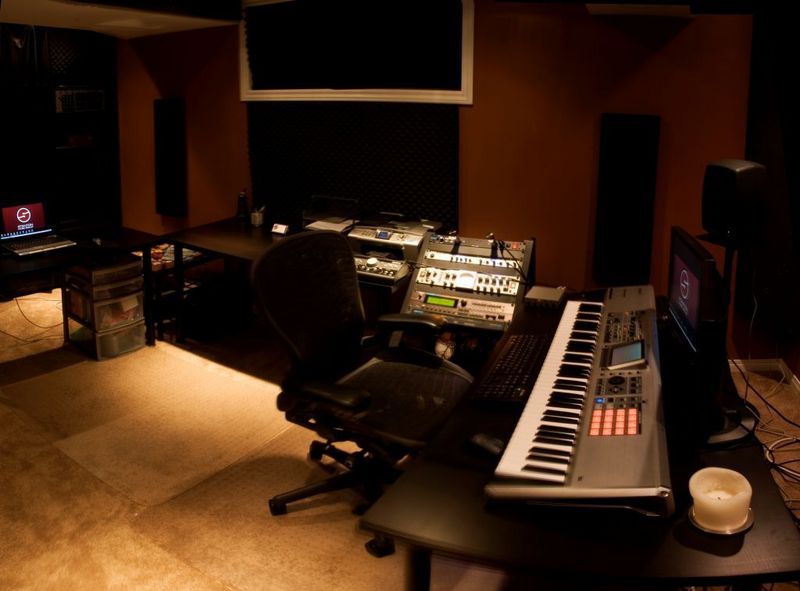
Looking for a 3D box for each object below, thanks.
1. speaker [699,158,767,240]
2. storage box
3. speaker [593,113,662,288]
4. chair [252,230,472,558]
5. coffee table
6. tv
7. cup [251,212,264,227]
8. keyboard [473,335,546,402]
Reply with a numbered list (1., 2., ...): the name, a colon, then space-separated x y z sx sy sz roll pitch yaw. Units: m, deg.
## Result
1. speaker: 1.269 -0.362 2.323 0.233 0.303 0.202 15 21 32
2. storage box: -2.253 0.070 4.587 0.617 0.743 0.382 -2 19 -15
3. speaker: 1.443 -0.592 3.872 0.403 1.089 0.198 3 18 -1
4. chair: -0.184 0.469 2.888 1.003 1.401 1.070 10 29 31
5. coffee table: -1.758 0.000 4.701 0.574 0.554 0.434 17 25 37
6. tv: 1.116 0.008 2.298 0.179 0.412 0.500 -8 13 16
7. cup: -1.117 -0.603 4.766 0.104 0.109 0.105 2 10 0
8. keyboard: 0.489 0.286 2.500 0.180 0.046 0.516 5 26 22
